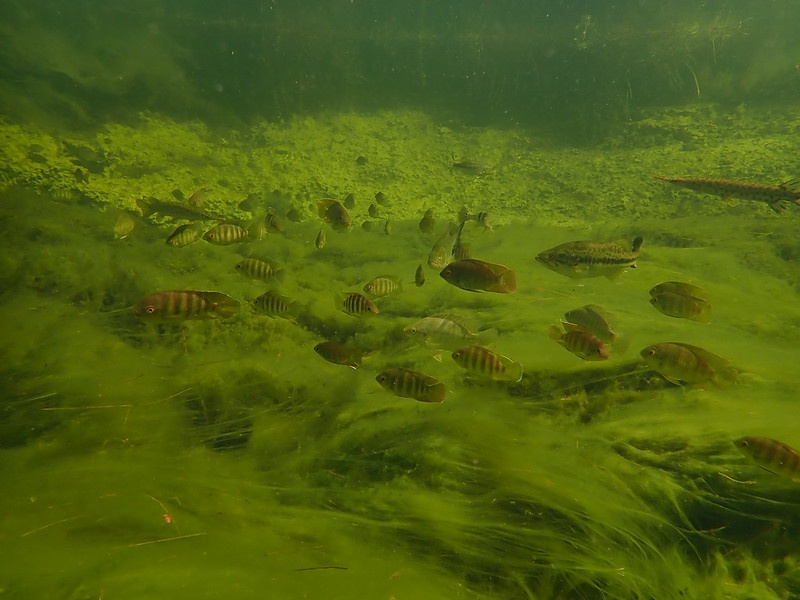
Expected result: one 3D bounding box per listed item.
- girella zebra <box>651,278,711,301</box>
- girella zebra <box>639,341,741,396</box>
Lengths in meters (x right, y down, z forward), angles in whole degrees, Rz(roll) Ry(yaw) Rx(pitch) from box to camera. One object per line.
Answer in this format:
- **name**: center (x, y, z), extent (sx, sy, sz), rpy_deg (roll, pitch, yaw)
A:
- **girella zebra**: center (2.449, -0.085, 6.640), extent (0.536, 0.102, 0.208), rpy_deg (3, 57, 13)
- **girella zebra**: center (2.223, 0.515, 5.902), extent (0.186, 0.318, 0.783), rpy_deg (-2, 18, -41)
